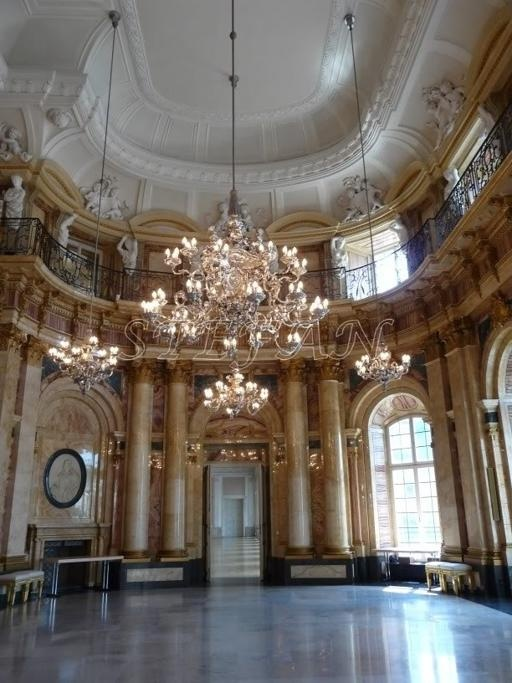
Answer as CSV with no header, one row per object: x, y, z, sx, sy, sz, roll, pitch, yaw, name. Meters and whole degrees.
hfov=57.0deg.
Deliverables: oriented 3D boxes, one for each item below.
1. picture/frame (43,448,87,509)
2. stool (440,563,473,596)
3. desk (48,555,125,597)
-3.723,2.693,9.220,0.162,1.126,0.880,-14,-24,30,picture/frame
3.111,3.738,7.405,0.389,0.448,0.816,-2,-20,2,stool
-3.329,4.282,8.665,1.183,0.610,1.428,-15,-25,34,desk
